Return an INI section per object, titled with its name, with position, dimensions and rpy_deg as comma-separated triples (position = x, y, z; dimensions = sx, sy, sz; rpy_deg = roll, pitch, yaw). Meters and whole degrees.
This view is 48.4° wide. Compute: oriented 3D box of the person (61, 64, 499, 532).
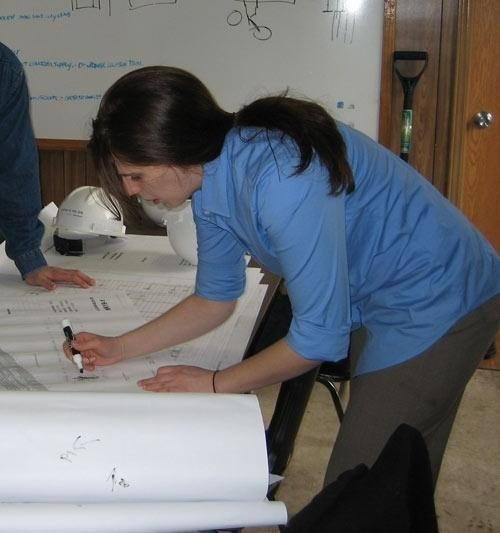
[person]
position = 0.067, 0.032, 0.883
dimensions = 0.729, 0.668, 0.367
rpy_deg = -8, 32, -12

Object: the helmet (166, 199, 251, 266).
[helmet]
position = -0.123, -0.077, 1.540
dimensions = 0.213, 0.130, 0.202
rpy_deg = 5, 25, 11

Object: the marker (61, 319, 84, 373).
[marker]
position = -0.311, 0.144, 0.977
dimensions = 0.017, 0.018, 0.100
rpy_deg = -48, 59, 8
